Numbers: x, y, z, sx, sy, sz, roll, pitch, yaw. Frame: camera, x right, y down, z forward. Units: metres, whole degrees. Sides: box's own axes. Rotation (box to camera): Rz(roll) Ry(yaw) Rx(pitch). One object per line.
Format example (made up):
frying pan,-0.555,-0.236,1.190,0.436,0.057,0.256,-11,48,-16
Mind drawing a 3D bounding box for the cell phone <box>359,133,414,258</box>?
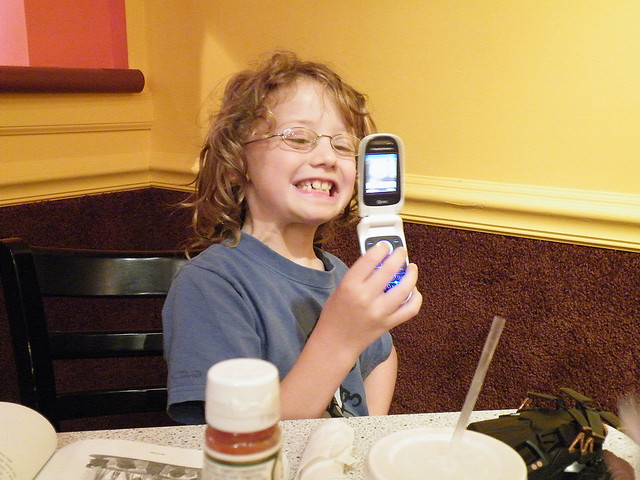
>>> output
cell phone,0.090,-0.064,0.739,0.077,0.171,0.083,0,21,-12
